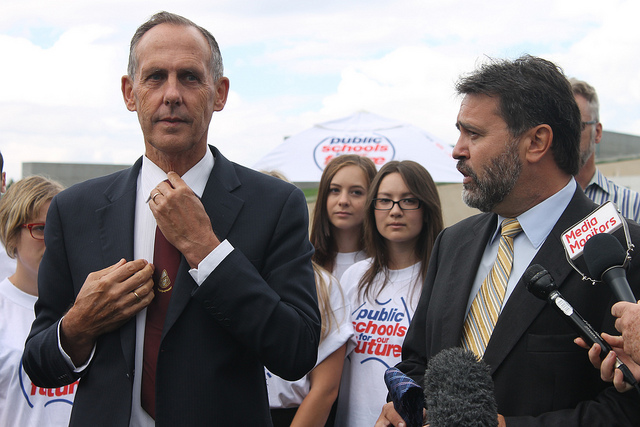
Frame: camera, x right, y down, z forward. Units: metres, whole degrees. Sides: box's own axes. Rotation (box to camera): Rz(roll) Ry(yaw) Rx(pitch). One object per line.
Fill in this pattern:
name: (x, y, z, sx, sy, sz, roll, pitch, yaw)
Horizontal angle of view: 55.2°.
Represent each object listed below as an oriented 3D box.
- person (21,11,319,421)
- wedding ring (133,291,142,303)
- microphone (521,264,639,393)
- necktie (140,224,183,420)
person: (-0.766, -0.003, 3.323, 1.527, 2.206, 0.595, 3, 3, 12)
wedding ring: (-0.944, 0.436, 3.172, 0.011, 0.047, 0.047, -35, 43, -26)
microphone: (1.315, 0.597, 3.056, 0.855, 0.141, 0.146, 51, -2, 38)
necktie: (-0.848, 0.583, 3.263, 0.155, 0.998, 0.179, 3, 3, 9)
